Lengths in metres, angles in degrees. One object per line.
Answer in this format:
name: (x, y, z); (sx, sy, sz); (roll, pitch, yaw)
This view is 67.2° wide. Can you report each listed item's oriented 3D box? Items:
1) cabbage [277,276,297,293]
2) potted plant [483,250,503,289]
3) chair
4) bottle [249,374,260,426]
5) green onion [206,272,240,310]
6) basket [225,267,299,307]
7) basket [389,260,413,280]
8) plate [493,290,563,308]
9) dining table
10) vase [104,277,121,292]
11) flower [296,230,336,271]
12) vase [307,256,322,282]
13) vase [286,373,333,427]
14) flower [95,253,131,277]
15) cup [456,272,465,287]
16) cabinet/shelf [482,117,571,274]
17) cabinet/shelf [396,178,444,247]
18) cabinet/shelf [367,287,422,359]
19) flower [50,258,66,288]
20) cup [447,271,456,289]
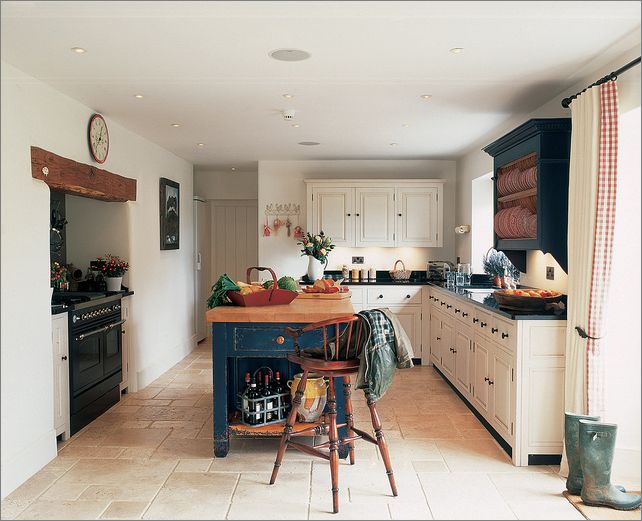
cabbage: (-0.262, 0.196, 3.951); (0.139, 0.115, 0.115); (5, -7, 19)
potted plant: (2.171, 0.088, 6.032); (0.290, 0.462, 0.278); (-7, -5, 36)
chair: (0.057, 0.898, 3.233); (0.807, 1.174, 0.815); (-1, 4, -15)
bottle: (-0.483, 1.018, 3.542); (0.090, 0.299, 0.176); (-1, 4, -10)
green onion: (-0.759, 0.244, 3.806); (0.261, 0.268, 0.118); (-14, -46, 19)
basket: (-0.479, 0.198, 3.880); (0.533, 0.297, 0.389); (-1, 4, -40)
basket: (1.067, 0.122, 6.470); (0.237, 0.283, 0.290); (0, 0, 36)
plate: (1.567, 0.288, 3.621); (0.463, 0.125, 0.326); (1, 4, 21)
dining table: (-0.243, 0.915, 3.857); (1.056, 1.060, 0.934); (2, 0, 10)
vase: (-2.037, 0.227, 4.716); (0.135, 0.108, 0.129); (0, -4, 18)
flower: (-0.063, -0.124, 6.177); (0.444, 0.459, 0.446); (0, 4, -11)
vase: (-0.060, 0.107, 6.053); (0.181, 0.341, 0.323); (0, 4, 0)
vase: (-0.094, 1.023, 3.643); (0.336, 0.326, 0.280); (3, -2, -27)
flower: (-2.077, 0.046, 4.791); (0.241, 0.175, 0.246); (3, -1, -5)
cup: (1.578, 0.203, 5.429); (0.084, 0.161, 0.150); (1, 4, 16)
cabinet/shelf: (1.773, -0.485, 4.129); (0.328, 1.136, 1.151); (-2, 3, 2)
cabinet/shelf: (1.310, -0.610, 6.507); (0.651, 0.847, 0.228); (1, -4, 13)
cabinet/shelf: (0.903, 0.822, 6.499); (0.875, 1.247, 0.821); (0, -5, -2)
flower: (-2.426, 0.133, 4.465); (0.138, 0.224, 0.524); (-2, 4, -27)
cup: (1.462, 0.213, 5.357); (0.088, 0.168, 0.228); (1, 4, 15)
